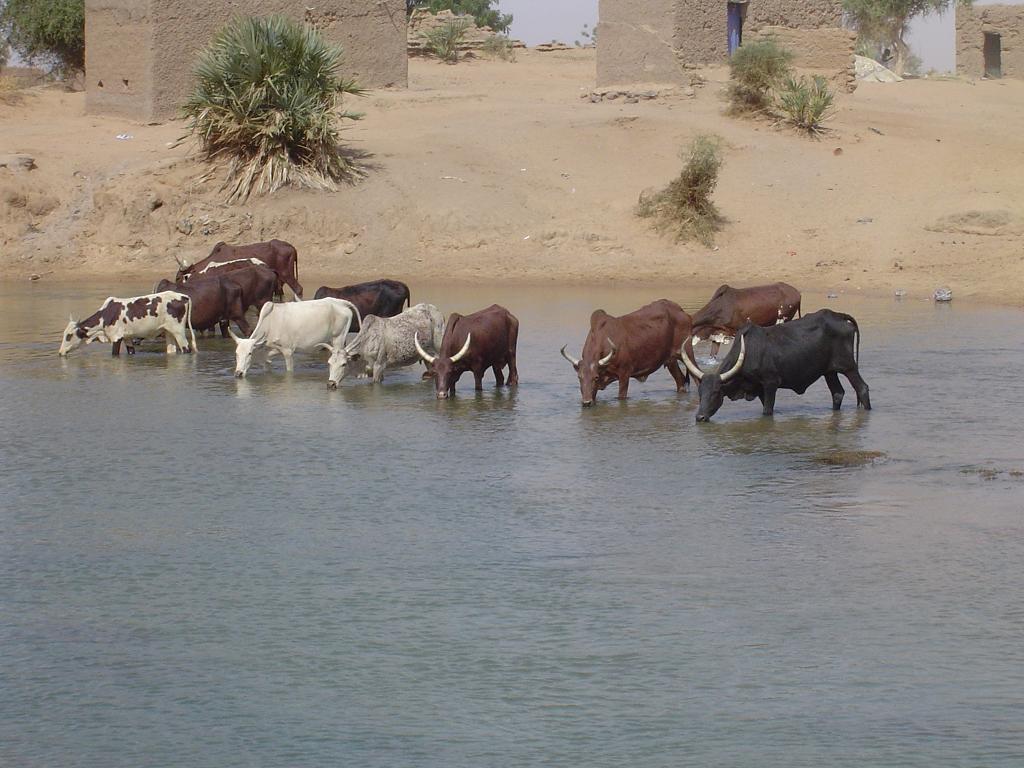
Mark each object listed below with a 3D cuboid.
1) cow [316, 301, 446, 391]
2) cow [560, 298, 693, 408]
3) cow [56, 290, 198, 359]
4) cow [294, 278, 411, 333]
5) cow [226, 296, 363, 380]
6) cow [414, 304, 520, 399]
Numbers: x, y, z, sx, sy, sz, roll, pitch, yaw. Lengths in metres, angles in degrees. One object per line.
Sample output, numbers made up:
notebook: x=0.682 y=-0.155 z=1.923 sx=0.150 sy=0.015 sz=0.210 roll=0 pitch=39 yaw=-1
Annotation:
cow: x=-1.414 y=-0.378 z=20.666 sx=1.716 sy=0.878 sz=0.525 roll=-18 pitch=22 yaw=-40
cow: x=1.262 y=-0.344 z=19.436 sx=1.407 sy=1.126 sz=0.476 roll=-2 pitch=4 yaw=-44
cow: x=-4.815 y=-0.766 z=22.903 sx=1.621 sy=0.838 sz=0.757 roll=0 pitch=3 yaw=-10
cow: x=-2.085 y=-1.100 z=22.993 sx=1.777 sy=0.824 sz=0.480 roll=-3 pitch=2 yaw=-42
cow: x=-2.549 y=-0.535 z=21.425 sx=1.828 sy=0.863 sz=0.491 roll=-9 pitch=15 yaw=-38
cow: x=-0.386 y=-0.369 z=20.002 sx=0.474 sy=0.989 sz=1.278 roll=2 pitch=3 yaw=25
